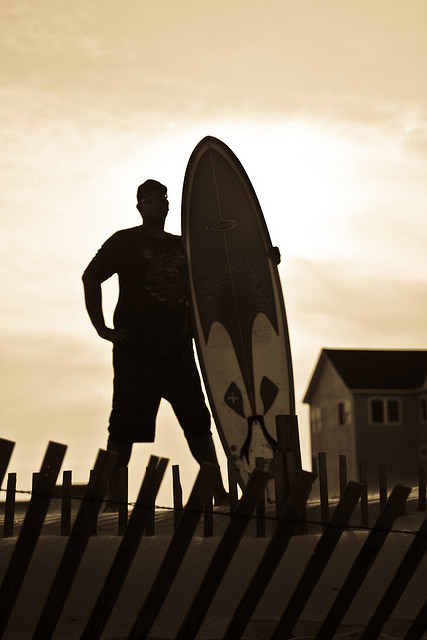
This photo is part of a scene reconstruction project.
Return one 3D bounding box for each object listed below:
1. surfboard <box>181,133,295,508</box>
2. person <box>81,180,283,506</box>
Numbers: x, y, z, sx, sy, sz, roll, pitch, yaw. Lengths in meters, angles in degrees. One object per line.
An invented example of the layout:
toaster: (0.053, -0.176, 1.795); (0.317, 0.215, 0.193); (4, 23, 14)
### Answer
surfboard: (0.275, -0.100, 12.665); (0.959, 0.351, 4.459); (-5, -50, 6)
person: (-0.630, -0.056, 12.286); (1.359, 2.775, 0.660); (6, -6, -8)
